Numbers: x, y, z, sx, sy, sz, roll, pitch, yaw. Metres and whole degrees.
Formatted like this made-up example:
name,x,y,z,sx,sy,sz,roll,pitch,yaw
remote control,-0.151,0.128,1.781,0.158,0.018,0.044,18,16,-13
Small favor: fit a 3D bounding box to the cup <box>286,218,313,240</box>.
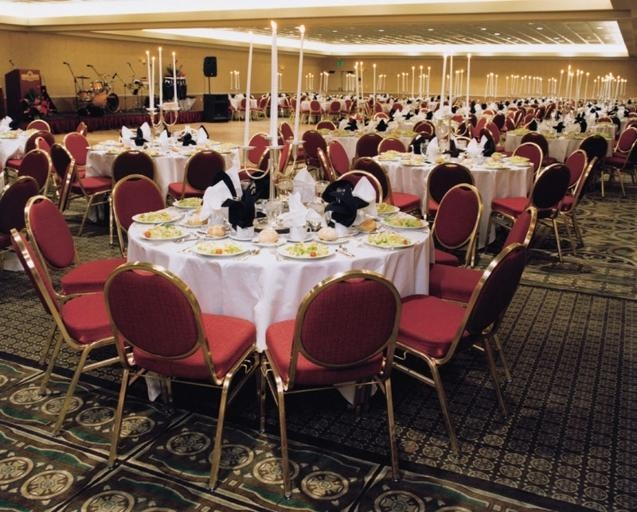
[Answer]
name,x,y,z,sx,sy,sz,roll,pitch,yaw
cup,-0.109,-0.164,2.760,0.128,0.087,0.119,1,22,0
